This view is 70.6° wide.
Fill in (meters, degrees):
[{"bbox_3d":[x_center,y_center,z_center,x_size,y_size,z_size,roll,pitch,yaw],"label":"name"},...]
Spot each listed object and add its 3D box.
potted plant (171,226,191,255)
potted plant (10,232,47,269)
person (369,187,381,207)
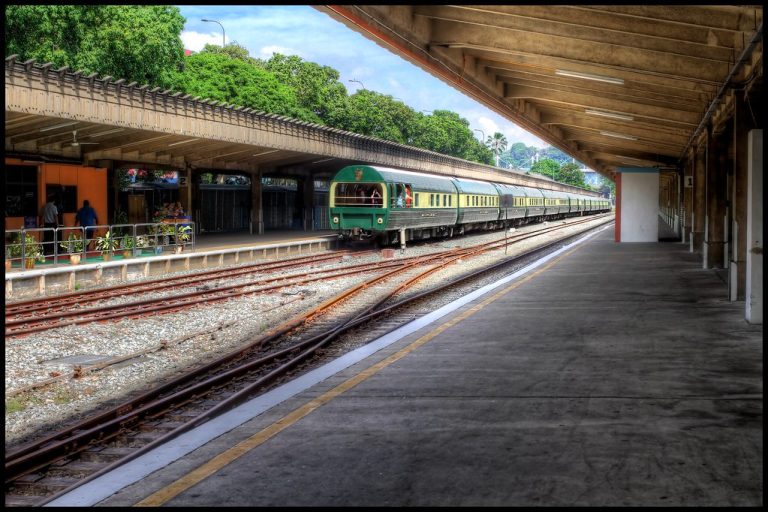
[{"bbox_3d":[-8.549,-0.695,22.691,1.281,1.043,0.423,7,12,35],"label":"potted plant"},{"bbox_3d":[-11.717,-0.257,17.641,0.948,1.129,3.636,-8,6,-32],"label":"potted plant"},{"bbox_3d":[-0.450,-2.992,27.112,0.467,0.937,0.968,-9,8,-39],"label":"person"}]
